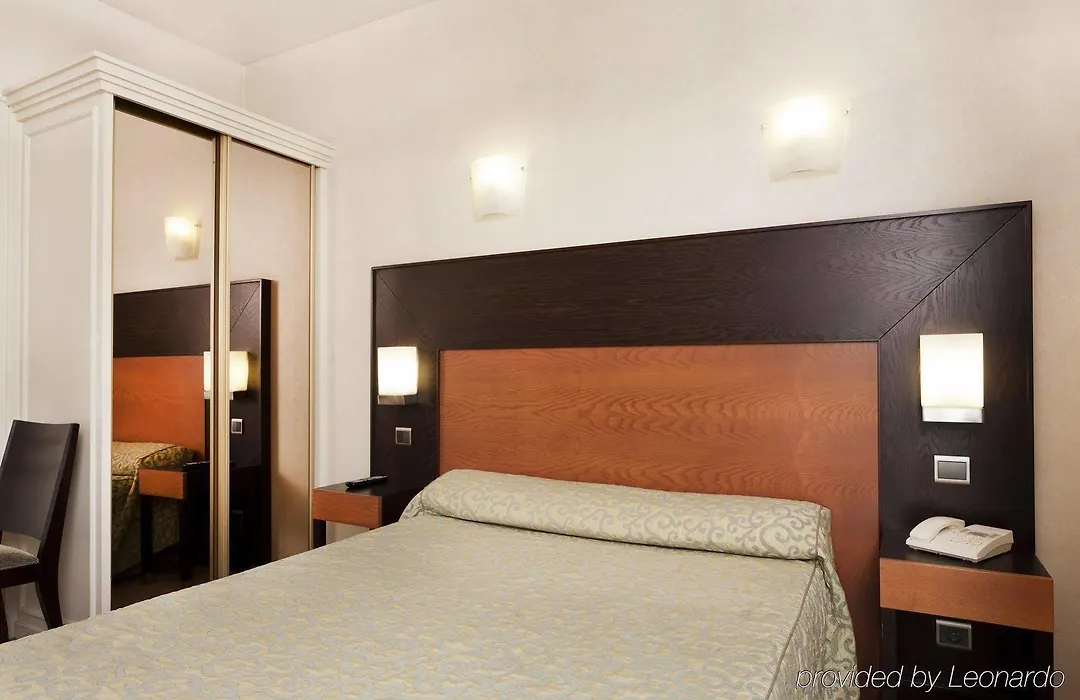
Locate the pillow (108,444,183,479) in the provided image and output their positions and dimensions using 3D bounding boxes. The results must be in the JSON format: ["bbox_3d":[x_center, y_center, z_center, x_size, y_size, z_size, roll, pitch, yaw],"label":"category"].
[{"bbox_3d":[-2.105,0.590,3.793,0.234,0.053,0.171,21,38,-4],"label":"pillow"}]

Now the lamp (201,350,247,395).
[{"bbox_3d":[-1.816,0.131,4.106,0.217,0.231,0.222,5,6,43],"label":"lamp"}]

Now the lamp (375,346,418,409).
[{"bbox_3d":[-0.854,0.155,4.239,0.208,0.329,0.076,-1,0,3],"label":"lamp"}]

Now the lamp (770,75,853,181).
[{"bbox_3d":[1.309,-1.072,3.508,0.417,0.395,0.114,0,10,27],"label":"lamp"}]

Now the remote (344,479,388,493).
[{"bbox_3d":[-1.020,0.788,4.193,0.087,0.033,0.179,2,2,35],"label":"remote"}]
